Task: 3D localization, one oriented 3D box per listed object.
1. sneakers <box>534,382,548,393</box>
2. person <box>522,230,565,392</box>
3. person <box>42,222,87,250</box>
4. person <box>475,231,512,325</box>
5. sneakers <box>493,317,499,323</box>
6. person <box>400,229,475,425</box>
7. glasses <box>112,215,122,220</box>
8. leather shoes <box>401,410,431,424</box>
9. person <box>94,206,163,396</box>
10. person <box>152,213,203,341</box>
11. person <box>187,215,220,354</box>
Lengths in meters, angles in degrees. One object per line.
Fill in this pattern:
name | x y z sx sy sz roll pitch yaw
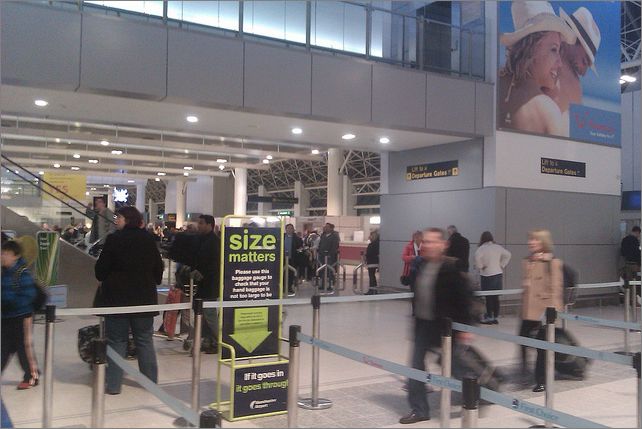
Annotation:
sneakers | 3.335 2.652 8.642 0.231 0.087 0.082 3 -4 -20
person | 3.366 1.465 8.635 0.581 2.455 1.163 1 -1 20
person | -6.483 0.572 14.685 1.248 0.674 0.572 14 2 36
person | 3.982 1.443 13.160 0.770 2.095 0.599 1 -1 17
sneakers | 4.005 2.403 12.978 0.122 0.147 0.288 1 -1 20
person | 1.578 1.515 7.698 0.907 2.655 0.627 1 -1 14
glasses | -3.813 0.050 10.571 0.134 0.072 0.130 1 3 -34
leather shoes | 1.283 2.754 7.748 0.426 0.150 0.152 2 -5 -10
person | -2.873 1.264 8.428 0.959 1.897 0.567 2 -1 -17
person | -2.725 1.087 11.218 0.605 1.791 0.503 -2 -45 -19
person | -2.068 1.257 10.122 0.481 2.495 1.465 2 -1 -13
